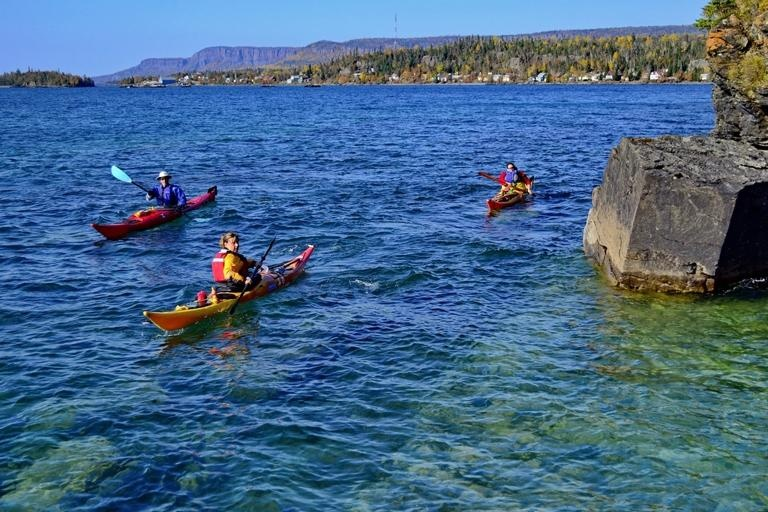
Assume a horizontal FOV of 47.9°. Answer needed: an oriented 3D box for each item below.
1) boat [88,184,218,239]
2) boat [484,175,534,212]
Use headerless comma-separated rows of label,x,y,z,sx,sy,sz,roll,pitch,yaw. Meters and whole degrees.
boat,-8.589,-1.808,34.512,1.348,0.936,7.266,6,23,25
boat,5.323,-2.537,35.954,0.913,0.576,3.585,1,22,35
